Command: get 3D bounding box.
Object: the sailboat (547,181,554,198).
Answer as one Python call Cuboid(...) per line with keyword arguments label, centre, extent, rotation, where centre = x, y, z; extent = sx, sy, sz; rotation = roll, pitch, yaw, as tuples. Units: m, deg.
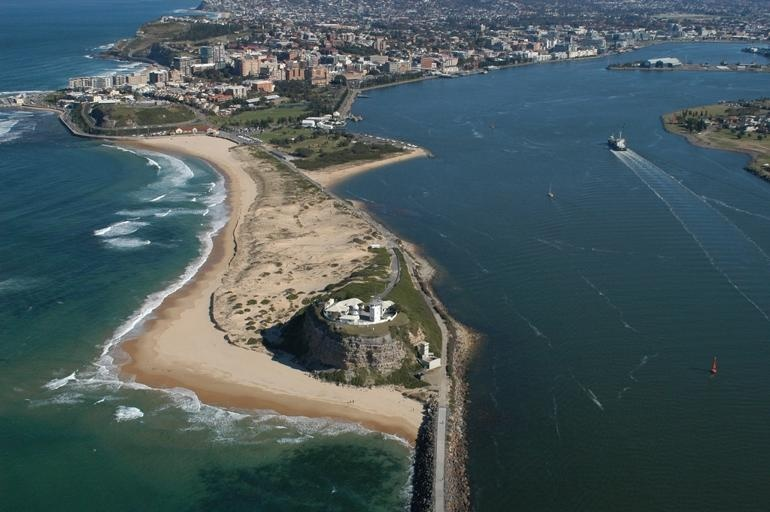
Cuboid(label="sailboat", centre=(23.376, -8.992, 95.211), extent=(1.023, 0.118, 4.151), rotation=(5, 28, 11))
